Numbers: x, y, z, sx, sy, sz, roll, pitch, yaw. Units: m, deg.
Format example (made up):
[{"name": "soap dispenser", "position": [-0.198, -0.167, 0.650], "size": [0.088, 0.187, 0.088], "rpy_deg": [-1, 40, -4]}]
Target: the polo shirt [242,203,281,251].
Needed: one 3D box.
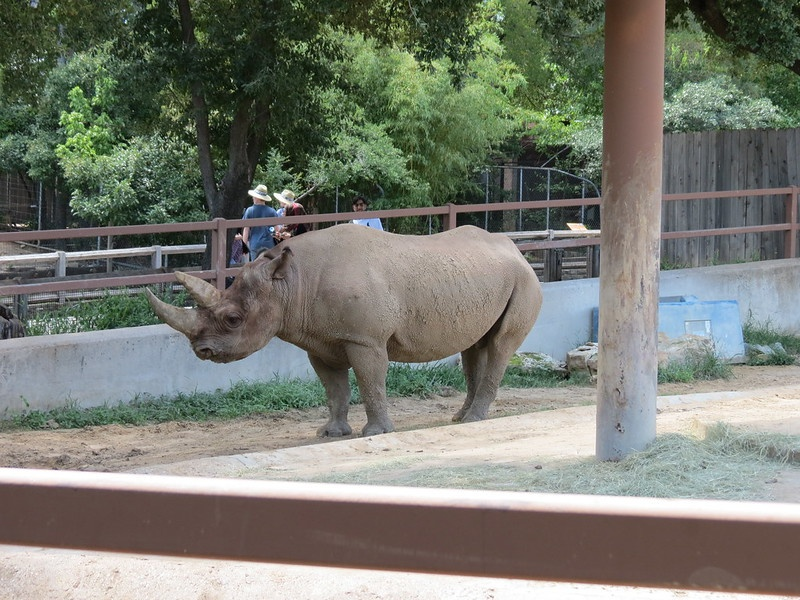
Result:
[{"name": "polo shirt", "position": [-1.792, -0.992, 16.530], "size": [0.480, 0.597, 0.251], "rpy_deg": [-5, 30, -6]}]
